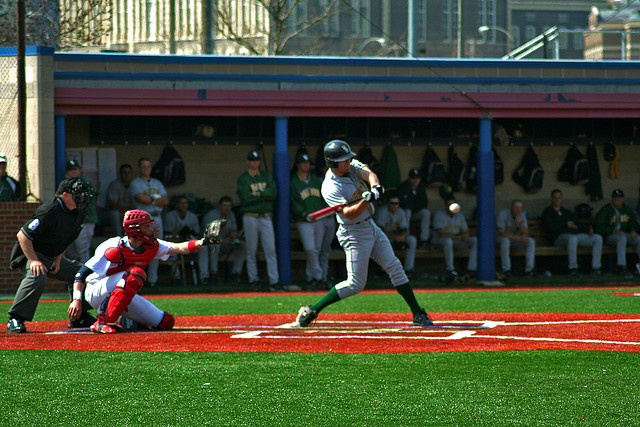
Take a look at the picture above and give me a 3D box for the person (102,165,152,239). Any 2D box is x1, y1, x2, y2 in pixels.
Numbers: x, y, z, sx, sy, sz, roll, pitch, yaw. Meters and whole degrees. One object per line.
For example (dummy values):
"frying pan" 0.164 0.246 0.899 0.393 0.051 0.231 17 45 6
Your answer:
"person" -3.792 -0.182 27.307 0.972 1.459 1.028 8 11 27

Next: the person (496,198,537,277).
"person" 3.904 0.489 27.909 0.779 1.073 0.554 -2 -1 8

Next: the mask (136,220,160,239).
"mask" -2.730 0.265 22.205 0.355 0.352 0.272 -10 11 -3

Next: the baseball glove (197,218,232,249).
"baseball glove" -1.737 0.275 21.904 0.364 0.477 0.142 1 20 -22

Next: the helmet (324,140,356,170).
"helmet" 0.316 -0.970 22.398 0.564 0.451 0.497 -10 21 -6

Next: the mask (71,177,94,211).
"mask" -3.818 -0.316 22.285 0.383 0.463 0.467 4 -7 -38

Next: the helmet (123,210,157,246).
"helmet" -2.825 0.172 22.170 0.542 0.552 0.453 1 16 4

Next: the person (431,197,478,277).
"person" 2.654 0.517 27.854 0.702 1.040 0.894 -1 -1 -20

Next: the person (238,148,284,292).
"person" -1.163 0.161 27.148 0.816 2.655 1.193 -2 -1 -2

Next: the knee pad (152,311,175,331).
"knee pad" -2.504 1.760 22.511 0.326 0.245 0.174 -41 -43 15

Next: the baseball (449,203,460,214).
"baseball" 2.652 -0.108 27.653 0.175 0.124 0.176 -2 12 11

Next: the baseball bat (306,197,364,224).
"baseball bat" 0.229 -0.064 23.308 0.892 0.190 0.087 -26 38 -20
